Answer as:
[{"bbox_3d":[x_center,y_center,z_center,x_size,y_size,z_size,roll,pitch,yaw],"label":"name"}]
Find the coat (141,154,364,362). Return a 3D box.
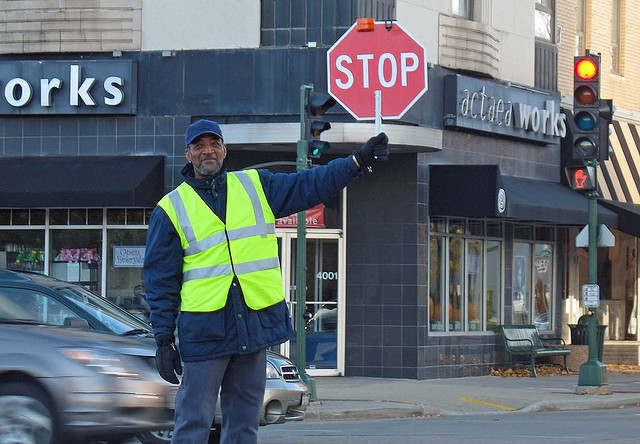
[{"bbox_3d":[-1.202,0.539,20.774,2.661,2.398,0.350,5,-2,-2],"label":"coat"}]

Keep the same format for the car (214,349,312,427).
[{"bbox_3d":[-0.932,2.918,24.150,1.135,1.671,1.470,3,1,-33],"label":"car"}]

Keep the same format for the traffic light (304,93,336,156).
[{"bbox_3d":[-0.094,-1.859,28.117,0.633,1.287,0.499,5,8,16],"label":"traffic light"}]
